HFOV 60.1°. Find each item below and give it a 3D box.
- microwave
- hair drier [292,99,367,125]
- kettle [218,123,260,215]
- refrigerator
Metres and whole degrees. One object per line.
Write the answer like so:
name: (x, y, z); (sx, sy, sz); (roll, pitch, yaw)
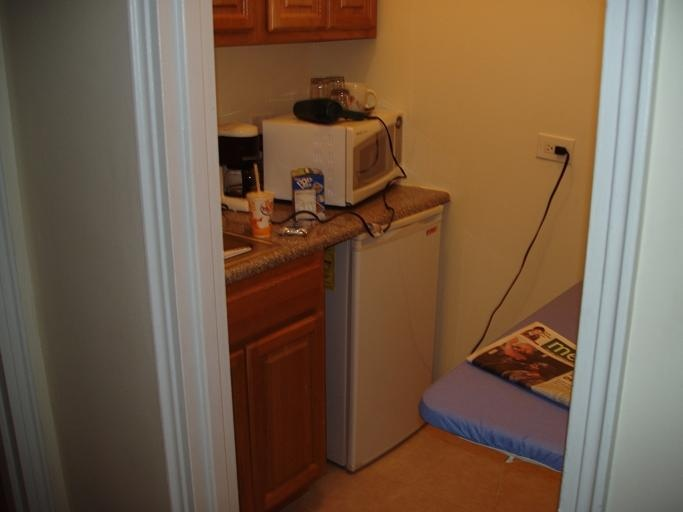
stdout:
microwave: (0.003, -0.446, 2.487); (0.403, 0.348, 0.562); (13, 24, 31)
hair drier: (-0.035, -0.566, 2.293); (0.299, 0.099, 0.167); (3, 24, 0)
kettle: (-0.389, -0.331, 2.251); (0.144, 0.324, 0.098); (1, 21, -4)
refrigerator: (0.168, 0.277, 2.557); (0.577, 1.028, 0.528); (14, 20, 43)
